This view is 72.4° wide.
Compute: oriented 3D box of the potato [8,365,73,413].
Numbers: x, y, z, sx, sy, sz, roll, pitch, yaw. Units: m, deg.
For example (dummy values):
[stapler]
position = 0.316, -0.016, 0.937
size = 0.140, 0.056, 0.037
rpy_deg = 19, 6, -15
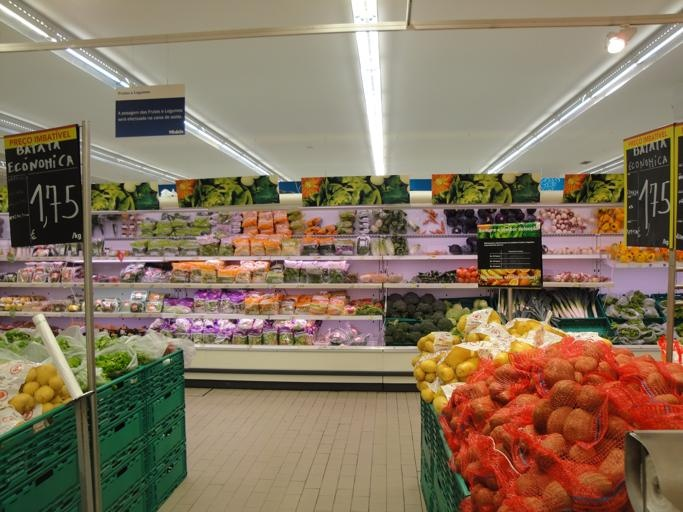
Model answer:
[potato]
position = -1.846, 0.795, 2.966
size = 0.326, 0.304, 0.390
rpy_deg = 0, 11, -42

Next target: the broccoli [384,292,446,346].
[broccoli]
position = 0.892, 0.805, 6.104
size = 0.745, 0.614, 0.205
rpy_deg = -3, -25, 1

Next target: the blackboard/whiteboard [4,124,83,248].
[blackboard/whiteboard]
position = -1.778, -0.406, 2.742
size = 0.784, 0.506, 0.155
rpy_deg = -4, -1, 31
